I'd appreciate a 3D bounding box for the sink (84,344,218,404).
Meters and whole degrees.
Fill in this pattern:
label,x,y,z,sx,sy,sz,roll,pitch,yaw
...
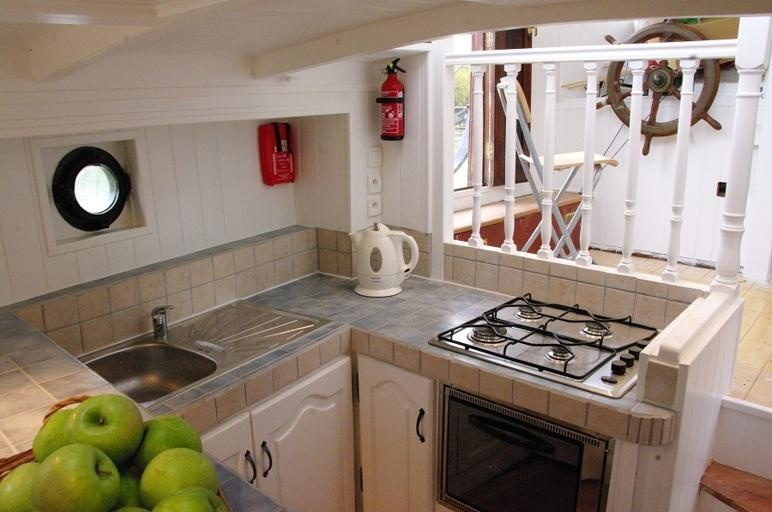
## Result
label,x,y,z,sx,sy,sz,roll,pitch,yaw
sink,-1.033,0.512,2.546,0.345,0.142,0.346,10,16,27

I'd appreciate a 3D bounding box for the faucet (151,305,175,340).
label,x,y,z,sx,sy,sz,roll,pitch,yaw
faucet,-1.026,0.290,2.642,0.136,0.139,0.116,-19,26,-38

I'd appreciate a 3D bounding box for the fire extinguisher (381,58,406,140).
label,x,y,z,sx,sy,sz,roll,pitch,yaw
fire extinguisher,0.031,-0.847,3.067,0.158,0.426,0.159,0,21,8

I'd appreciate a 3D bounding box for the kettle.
label,x,y,z,sx,sy,sz,roll,pitch,yaw
kettle,-0.008,0.009,3.004,0.337,0.378,0.199,-4,21,-4

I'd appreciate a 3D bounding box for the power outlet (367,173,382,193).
label,x,y,z,sx,sy,sz,roll,pitch,yaw
power outlet,-0.066,-0.416,3.197,0.053,0.097,0.104,9,15,31

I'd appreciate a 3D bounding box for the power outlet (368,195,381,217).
label,x,y,z,sx,sy,sz,roll,pitch,yaw
power outlet,-0.060,-0.292,3.240,0.015,0.128,0.109,13,26,36

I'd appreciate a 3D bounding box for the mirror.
label,x,y,z,sx,sy,sz,roll,pitch,yaw
mirror,-1.316,-0.306,2.546,0.096,0.335,0.306,12,20,24

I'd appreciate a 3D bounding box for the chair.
label,x,y,z,sx,sy,sz,roll,pitch,yaw
chair,1.194,-0.634,3.949,0.772,1.344,0.733,16,24,33
